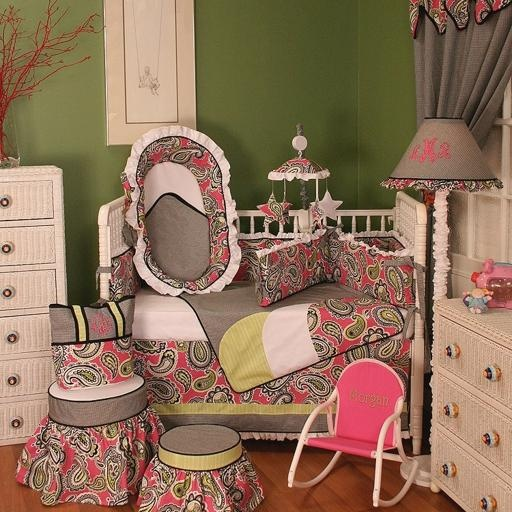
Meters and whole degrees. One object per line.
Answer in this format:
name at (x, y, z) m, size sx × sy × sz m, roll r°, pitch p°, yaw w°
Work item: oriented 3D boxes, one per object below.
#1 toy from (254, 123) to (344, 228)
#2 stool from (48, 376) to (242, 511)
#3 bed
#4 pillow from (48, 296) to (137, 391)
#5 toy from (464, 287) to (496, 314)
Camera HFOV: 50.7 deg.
toy at (0.241, -0.520, 3.424) m, size 0.750 × 0.806 × 0.457 m, roll -1°, pitch 3°, yaw -10°
stool at (-0.535, 0.729, 2.175) m, size 0.467 × 0.315 × 0.347 m, roll -4°, pitch 10°, yaw -21°
bed at (0.038, 0.409, 2.960) m, size 1.896 × 1.448 × 1.153 m, roll 0°, pitch 3°, yaw -5°
pillow at (-0.658, 0.369, 2.228) m, size 0.420 × 0.389 × 0.171 m, roll -2°, pitch -7°, yaw -22°
toy at (0.770, 0.155, 1.864) m, size 0.096 × 0.033 × 0.105 m, roll -1°, pitch 41°, yaw 23°
